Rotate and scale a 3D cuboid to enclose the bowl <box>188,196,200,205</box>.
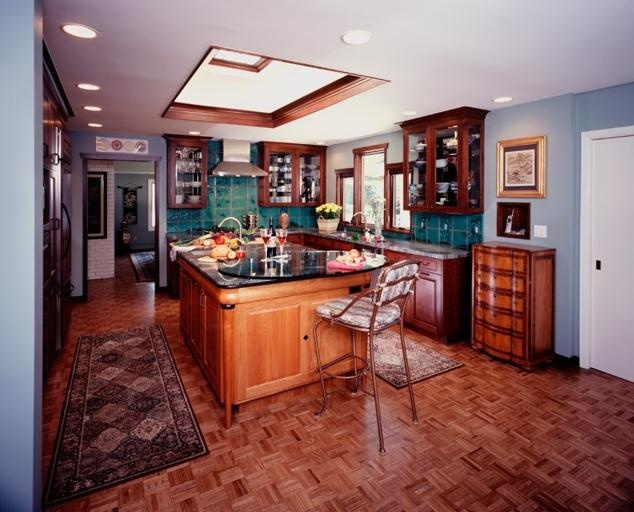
[{"bbox_3d":[-1.891,-0.837,6.695,0.129,0.105,0.135,2,2,0],"label":"bowl"}]

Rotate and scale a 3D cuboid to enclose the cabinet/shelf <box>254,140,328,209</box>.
[{"bbox_3d":[-0.401,-1.349,7.473,1.082,1.027,0.286,-3,11,-18],"label":"cabinet/shelf"}]

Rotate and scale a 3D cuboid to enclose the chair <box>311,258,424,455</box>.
[{"bbox_3d":[0.488,0.540,3.501,0.871,1.245,1.327,8,16,30],"label":"chair"}]

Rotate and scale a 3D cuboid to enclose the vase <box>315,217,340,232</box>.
[{"bbox_3d":[0.181,-0.491,7.050,0.337,0.239,0.222,0,1,-39],"label":"vase"}]

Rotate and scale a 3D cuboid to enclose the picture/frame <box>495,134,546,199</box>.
[{"bbox_3d":[2.082,-0.904,4.419,0.060,0.856,0.642,-2,4,-32],"label":"picture/frame"}]

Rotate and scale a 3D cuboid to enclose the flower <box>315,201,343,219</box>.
[{"bbox_3d":[0.192,-0.712,7.012,0.301,0.200,0.300,5,6,24],"label":"flower"}]

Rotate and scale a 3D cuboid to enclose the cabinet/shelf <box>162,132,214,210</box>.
[{"bbox_3d":[-1.954,-1.220,6.680,0.617,1.121,0.284,-1,-7,-11],"label":"cabinet/shelf"}]

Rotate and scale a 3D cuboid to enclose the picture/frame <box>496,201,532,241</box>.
[{"bbox_3d":[2.070,-0.370,4.563,0.044,0.467,0.379,-2,4,-45],"label":"picture/frame"}]

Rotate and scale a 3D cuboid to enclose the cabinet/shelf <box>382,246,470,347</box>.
[{"bbox_3d":[1.265,0.287,5.210,0.681,1.098,1.108,-22,20,-31],"label":"cabinet/shelf"}]

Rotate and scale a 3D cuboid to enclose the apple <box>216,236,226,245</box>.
[{"bbox_3d":[-0.910,-0.148,4.095,0.091,0.055,0.119,-2,4,-18],"label":"apple"}]

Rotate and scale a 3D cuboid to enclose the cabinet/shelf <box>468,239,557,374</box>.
[{"bbox_3d":[1.952,0.442,4.347,0.511,1.135,0.760,-7,15,-30],"label":"cabinet/shelf"}]

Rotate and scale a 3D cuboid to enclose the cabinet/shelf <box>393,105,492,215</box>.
[{"bbox_3d":[1.442,-1.082,4.884,0.357,1.282,1.063,-1,2,-35],"label":"cabinet/shelf"}]
